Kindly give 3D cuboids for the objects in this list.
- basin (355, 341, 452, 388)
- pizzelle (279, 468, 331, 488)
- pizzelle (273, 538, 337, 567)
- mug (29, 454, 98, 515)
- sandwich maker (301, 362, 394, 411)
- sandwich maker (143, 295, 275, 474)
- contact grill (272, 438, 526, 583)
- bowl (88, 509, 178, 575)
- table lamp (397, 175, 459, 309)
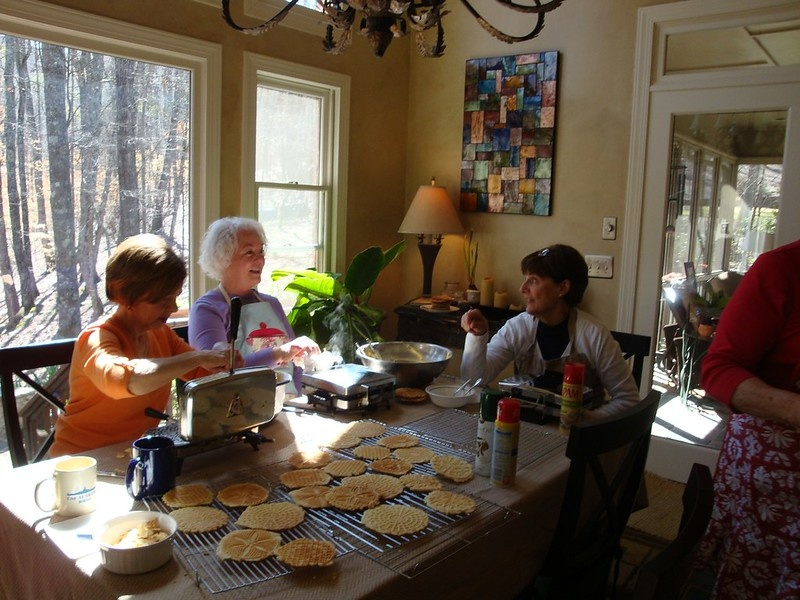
[{"bbox_3d":[0.049,0.286,2.322,0.333,0.107,0.328,-1,-1,0],"label":"basin"},{"bbox_3d":[-0.259,0.476,1.539,0.076,0.012,0.048,-1,11,-26],"label":"pizzelle"},{"bbox_3d":[-0.203,0.548,1.243,0.130,0.021,0.081,1,13,-7],"label":"pizzelle"},{"bbox_3d":[-0.801,0.454,1.367,0.079,0.113,0.133,1,-2,27],"label":"mug"},{"bbox_3d":[-0.191,0.330,2.104,0.305,0.126,0.335,-5,8,-28],"label":"sandwich maker"},{"bbox_3d":[-0.553,0.259,1.704,0.347,0.442,0.350,9,7,34],"label":"sandwich maker"},{"bbox_3d":[0.003,0.525,1.415,0.324,0.028,0.341,-6,15,-45],"label":"contact grill"},{"bbox_3d":[-0.560,0.514,1.228,0.152,0.057,0.149,3,11,-1],"label":"bowl"},{"bbox_3d":[0.222,-0.439,4.089,0.435,0.830,0.461,4,13,5],"label":"table lamp"}]
